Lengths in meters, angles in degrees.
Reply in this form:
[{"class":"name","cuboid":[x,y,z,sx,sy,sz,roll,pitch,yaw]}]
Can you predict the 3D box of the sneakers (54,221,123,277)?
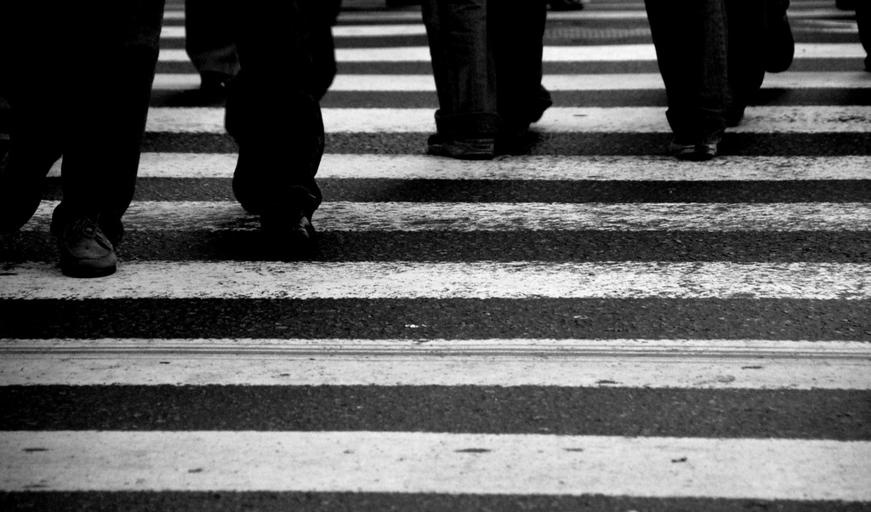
[{"class":"sneakers","cuboid":[-1.953,-0.028,5.281,0.219,0.151,0.465,-14,22,-40]}]
